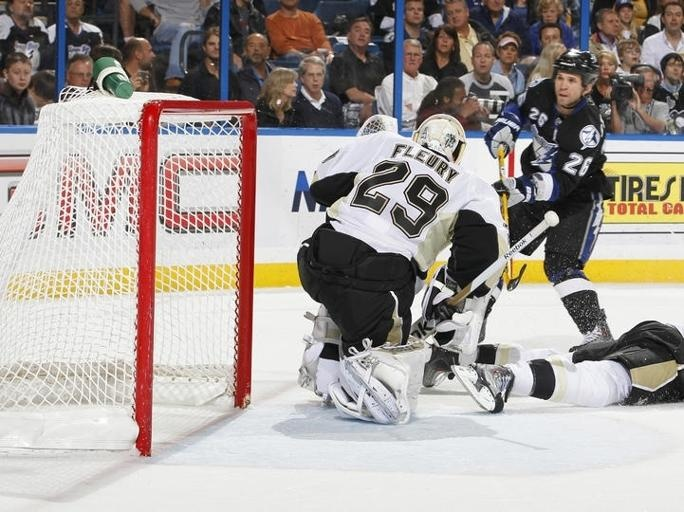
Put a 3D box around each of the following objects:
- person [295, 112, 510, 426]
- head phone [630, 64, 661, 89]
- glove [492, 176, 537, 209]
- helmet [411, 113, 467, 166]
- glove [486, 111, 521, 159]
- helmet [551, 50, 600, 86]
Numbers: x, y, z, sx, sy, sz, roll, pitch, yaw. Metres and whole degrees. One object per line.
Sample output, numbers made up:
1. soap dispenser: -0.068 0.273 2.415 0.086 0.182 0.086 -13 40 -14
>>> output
1. person: 0.249 0.031 4.589 0.909 1.440 1.000 10 11 -38
2. head phone: 2.512 -1.506 7.973 0.167 0.197 0.224 9 60 3
3. glove: 0.927 -0.350 5.199 0.191 0.145 0.090 16 45 35
4. helmet: 0.458 -0.564 4.544 0.197 0.241 0.209 15 11 8
5. glove: 0.942 -0.707 5.632 0.159 0.263 0.112 32 39 13
6. helmet: 1.252 -1.021 5.154 0.168 0.177 0.222 33 33 25
